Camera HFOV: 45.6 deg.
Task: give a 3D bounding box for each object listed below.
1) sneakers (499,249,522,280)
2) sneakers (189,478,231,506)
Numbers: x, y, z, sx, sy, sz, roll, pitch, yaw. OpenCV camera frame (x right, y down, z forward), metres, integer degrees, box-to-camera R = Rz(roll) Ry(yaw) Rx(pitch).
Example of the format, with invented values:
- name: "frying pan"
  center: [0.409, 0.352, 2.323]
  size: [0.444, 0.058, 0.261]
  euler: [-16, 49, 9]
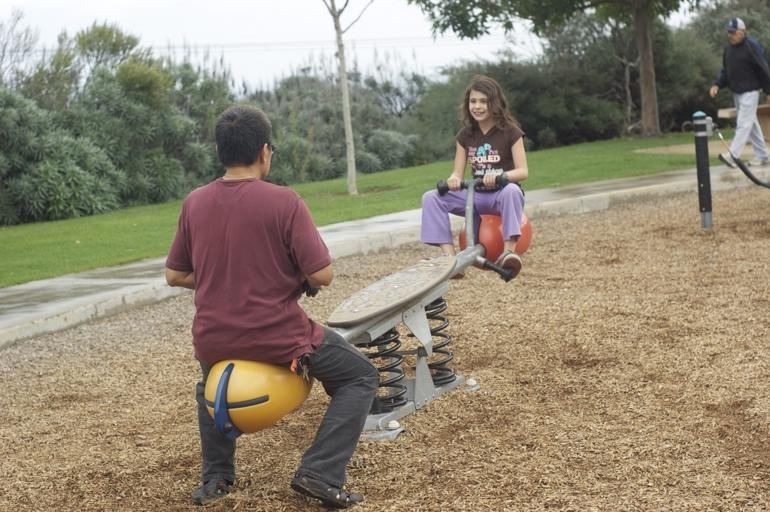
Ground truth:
- name: "sneakers"
  center: [1.518, 0.099, 11.016]
  size: [0.178, 0.179, 0.404]
  euler: [-28, -27, -13]
- name: "sneakers"
  center: [-1.851, 2.494, 9.701]
  size: [0.361, 0.161, 0.217]
  euler: [-20, 27, 5]
